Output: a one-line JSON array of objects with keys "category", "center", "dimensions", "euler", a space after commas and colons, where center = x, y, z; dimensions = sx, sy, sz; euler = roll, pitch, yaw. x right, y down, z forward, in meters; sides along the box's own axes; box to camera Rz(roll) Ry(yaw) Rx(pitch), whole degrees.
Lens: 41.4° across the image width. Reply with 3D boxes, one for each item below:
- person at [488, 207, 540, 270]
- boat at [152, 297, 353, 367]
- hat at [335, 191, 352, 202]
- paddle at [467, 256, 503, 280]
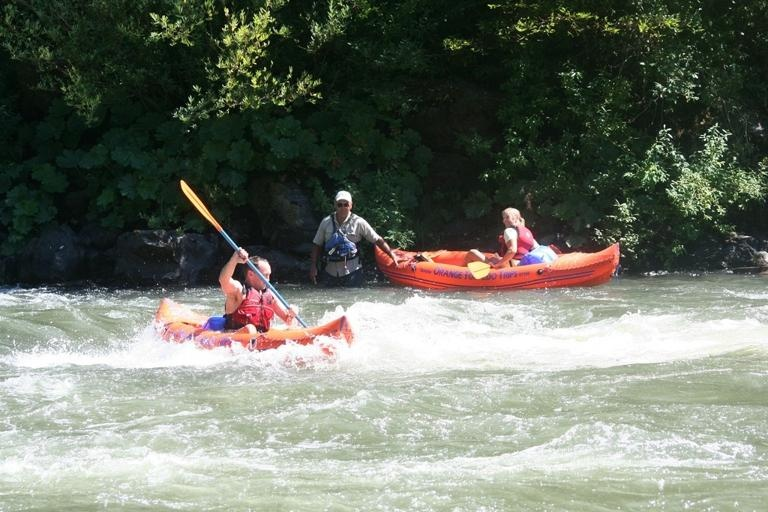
[{"category": "person", "center": [2.786, -0.354, 21.272], "dimensions": [0.842, 1.278, 0.899], "euler": [-23, 36, -28]}, {"category": "boat", "center": [-2.134, 1.191, 15.640], "dimensions": [2.371, 0.721, 1.171], "euler": [0, -1, 23]}, {"category": "hat", "center": [-0.773, -1.151, 19.767], "dimensions": [0.265, 0.216, 0.210], "euler": [1, -2, -13]}, {"category": "paddle", "center": [1.947, 0.271, 20.008], "dimensions": [0.411, 0.327, 0.110], "euler": [-20, -27, -16]}]
